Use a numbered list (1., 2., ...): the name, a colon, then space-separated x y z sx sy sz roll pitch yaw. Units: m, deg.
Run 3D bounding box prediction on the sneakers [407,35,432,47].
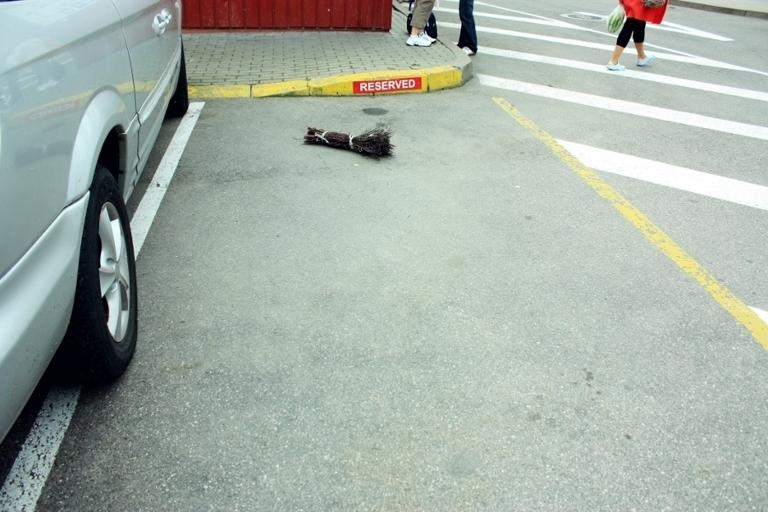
1. sneakers: 0.586 -3.671 9.279 0.472 0.195 0.161 0 46 -8
